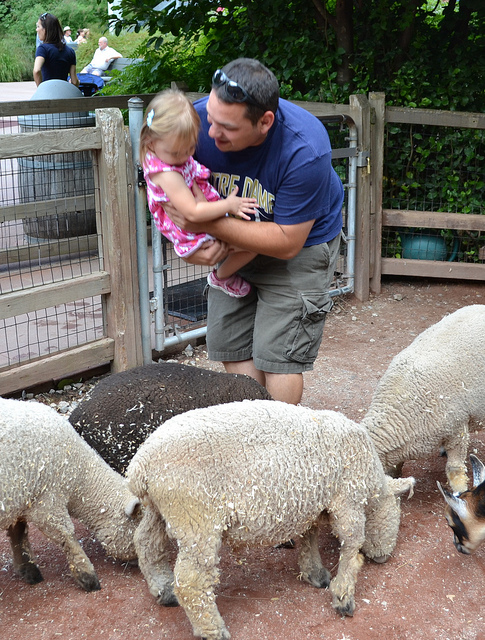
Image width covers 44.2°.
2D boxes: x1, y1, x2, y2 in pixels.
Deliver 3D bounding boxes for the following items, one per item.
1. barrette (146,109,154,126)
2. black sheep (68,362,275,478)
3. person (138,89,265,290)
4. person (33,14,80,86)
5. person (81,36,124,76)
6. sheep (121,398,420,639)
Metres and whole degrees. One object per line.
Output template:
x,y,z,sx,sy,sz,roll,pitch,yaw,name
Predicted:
-0.389,-0.855,2.514,0.017,0.055,0.039,28,-29,-32,barrette
-0.292,0.420,2.800,0.894,0.431,0.437,7,15,-4,black sheep
-0.178,-0.571,2.732,0.562,0.868,0.542,-2,7,-8,person
-2.730,-3.911,8.689,0.598,1.111,1.228,-3,7,-16,person
-3.401,-6.389,14.524,0.843,1.187,1.497,-2,7,-13,person
0.038,0.566,2.332,1.269,0.796,0.562,-6,14,-20,sheep
